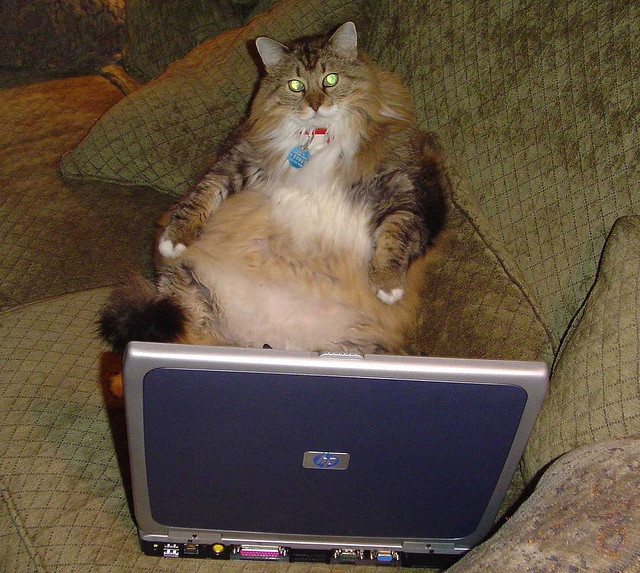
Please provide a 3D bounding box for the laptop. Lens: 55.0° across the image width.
[{"bbox_3d":[0.020,0.284,1.317,0.755,0.516,0.475,3,28,-3],"label":"laptop"}]
